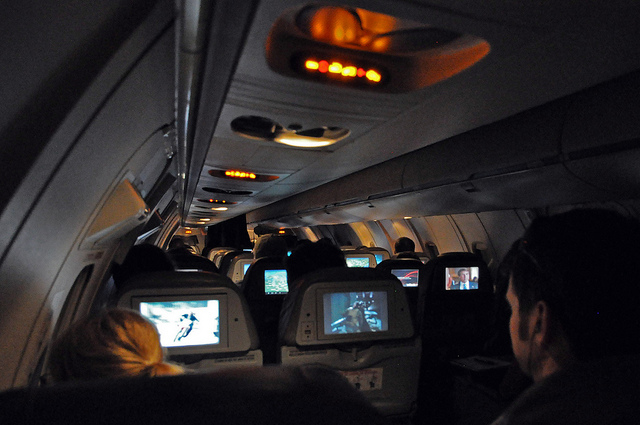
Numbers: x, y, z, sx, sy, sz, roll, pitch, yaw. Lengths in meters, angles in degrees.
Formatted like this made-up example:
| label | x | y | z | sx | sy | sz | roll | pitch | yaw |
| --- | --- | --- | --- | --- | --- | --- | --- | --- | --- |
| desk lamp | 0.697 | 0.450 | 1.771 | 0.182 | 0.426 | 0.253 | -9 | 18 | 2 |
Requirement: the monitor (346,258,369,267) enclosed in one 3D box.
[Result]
| label | x | y | z | sx | sy | sz | roll | pitch | yaw |
| --- | --- | --- | --- | --- | --- | --- | --- | --- | --- |
| monitor | 0.742 | 1.009 | 8.743 | 0.424 | 0.152 | 0.482 | -2 | -16 | 1 |

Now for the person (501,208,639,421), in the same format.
| label | x | y | z | sx | sy | sz | roll | pitch | yaw |
| --- | --- | --- | --- | --- | --- | --- | --- | --- | --- |
| person | 1.023 | 0.370 | 1.732 | 0.546 | 0.781 | 0.548 | -8 | -17 | 21 |

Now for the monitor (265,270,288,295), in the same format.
| label | x | y | z | sx | sy | sz | roll | pitch | yaw |
| --- | --- | --- | --- | --- | --- | --- | --- | --- | --- |
| monitor | -0.559 | 0.858 | 5.273 | 0.327 | 0.289 | 0.022 | 4 | -10 | -34 |

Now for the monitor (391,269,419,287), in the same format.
| label | x | y | z | sx | sy | sz | roll | pitch | yaw |
| --- | --- | --- | --- | --- | --- | --- | --- | --- | --- |
| monitor | 1.164 | 0.922 | 6.035 | 0.480 | 0.229 | 0.330 | 2 | -16 | -12 |

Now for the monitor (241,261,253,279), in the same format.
| label | x | y | z | sx | sy | sz | roll | pitch | yaw |
| --- | --- | --- | --- | --- | --- | --- | --- | --- | --- |
| monitor | -1.272 | 0.950 | 7.331 | 0.163 | 0.321 | 0.676 | 2 | -16 | -10 |

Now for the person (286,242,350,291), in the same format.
| label | x | y | z | sx | sy | sz | roll | pitch | yaw |
| --- | --- | --- | --- | --- | --- | --- | --- | --- | --- |
| person | -0.028 | 0.646 | 5.276 | 0.582 | 0.719 | 0.608 | 0 | -5 | -8 |

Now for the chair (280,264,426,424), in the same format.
| label | x | y | z | sx | sy | sz | roll | pitch | yaw |
| --- | --- | --- | --- | --- | --- | --- | --- | --- | --- |
| chair | 0.321 | 1.018 | 4.039 | 1.212 | 1.533 | 1.399 | -1 | 4 | -3 |

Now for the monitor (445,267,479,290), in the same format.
| label | x | y | z | sx | sy | sz | roll | pitch | yaw |
| --- | --- | --- | --- | --- | --- | --- | --- | --- | --- |
| monitor | 1.488 | 0.700 | 4.623 | 0.292 | 0.164 | 0.028 | -2 | 9 | -17 |
